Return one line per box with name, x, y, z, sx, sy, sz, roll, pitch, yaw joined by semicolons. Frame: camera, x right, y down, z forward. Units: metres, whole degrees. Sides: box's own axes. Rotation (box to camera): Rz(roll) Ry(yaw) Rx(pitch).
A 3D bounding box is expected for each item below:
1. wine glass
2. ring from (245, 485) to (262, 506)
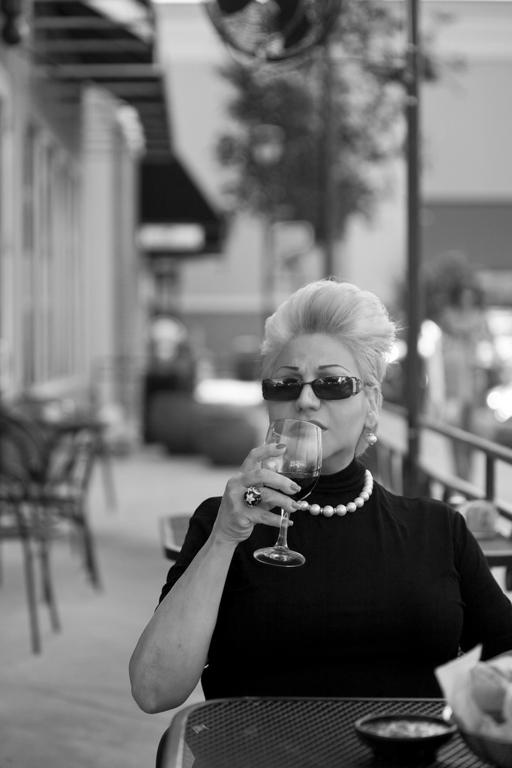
wine glass;0.042;0.154;1.089;0.096;0.212;0.221;-3;6;-1
ring;-0.004;0.129;0.974;0.021;0.021;0.007;-4;0;15
